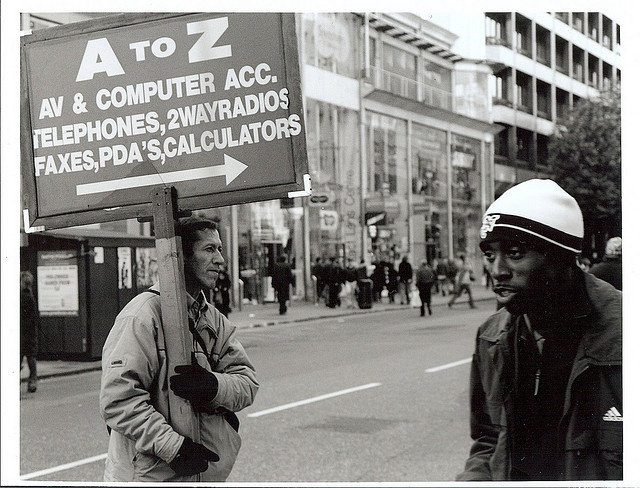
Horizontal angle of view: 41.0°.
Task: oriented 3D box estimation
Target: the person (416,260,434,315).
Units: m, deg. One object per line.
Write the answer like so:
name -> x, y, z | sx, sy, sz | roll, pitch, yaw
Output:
person -> 2.495, 1.042, 20.319 | 0.389, 1.273, 0.776 | -1, 1, 6

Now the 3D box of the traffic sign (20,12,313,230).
traffic sign -> -0.912, -0.719, 4.858 | 1.249, 0.969, 0.062 | -5, -9, 5

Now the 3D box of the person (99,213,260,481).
person -> -0.757, 0.593, 4.642 | 0.852, 1.486, 0.474 | -1, 1, -21

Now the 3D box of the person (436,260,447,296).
person -> 4.041, 1.058, 28.293 | 0.379, 1.218, 1.169 | -1, 1, 9

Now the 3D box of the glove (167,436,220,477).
glove -> -0.658, 1.112, 4.507 | 0.254, 0.226, 0.143 | -1, 1, -16

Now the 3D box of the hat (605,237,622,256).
hat -> 2.689, 0.020, 7.840 | 0.149, 0.224, 0.216 | 1, -3, 2

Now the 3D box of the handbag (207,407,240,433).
handbag -> -0.521, 0.958, 4.726 | 0.163, 0.160, 0.107 | -3, -1, -28

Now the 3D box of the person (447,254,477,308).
person -> 3.625, 1.075, 21.994 | 0.715, 1.340, 0.528 | 1, -38, 5
